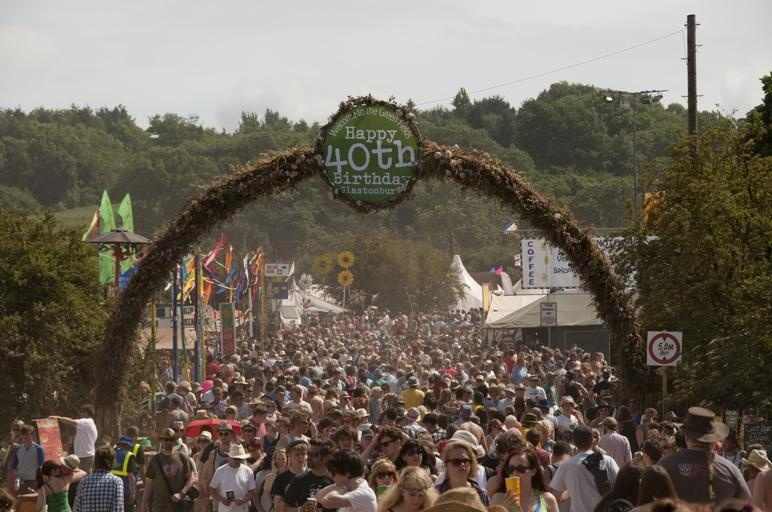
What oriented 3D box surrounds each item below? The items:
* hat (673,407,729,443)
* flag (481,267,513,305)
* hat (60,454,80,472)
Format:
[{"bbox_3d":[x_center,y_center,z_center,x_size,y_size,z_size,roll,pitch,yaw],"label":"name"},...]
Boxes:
[{"bbox_3d":[6.839,3.702,32.193,0.741,0.323,0.839,-9,15,-38],"label":"hat"},{"bbox_3d":[5.762,1.592,77.422,1.644,2.090,2.225,-2,-7,12],"label":"flag"},{"bbox_3d":[-7.139,4.709,33.516,0.368,0.356,0.317,2,-12,-17],"label":"hat"}]
